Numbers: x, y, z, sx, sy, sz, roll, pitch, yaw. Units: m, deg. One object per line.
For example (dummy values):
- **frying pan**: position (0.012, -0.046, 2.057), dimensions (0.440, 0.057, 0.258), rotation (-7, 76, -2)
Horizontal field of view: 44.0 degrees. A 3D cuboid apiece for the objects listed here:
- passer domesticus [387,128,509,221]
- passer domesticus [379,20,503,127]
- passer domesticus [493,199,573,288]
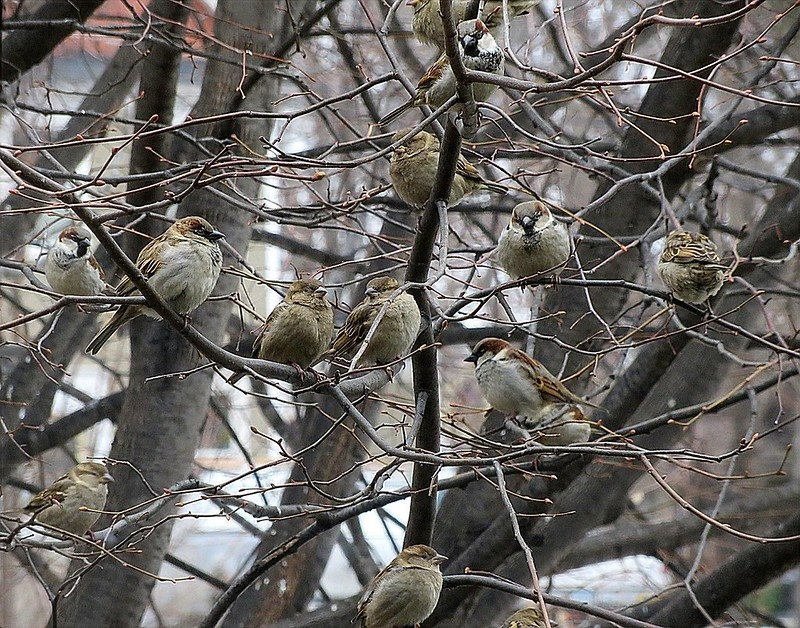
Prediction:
- **passer domesticus**: position (0.437, -1.236, 8.588), dimensions (1.143, 0.655, 0.750), rotation (-3, -92, -27)
- **passer domesticus**: position (0.295, -1.767, 7.291), dimensions (0.492, 1.140, 0.666), rotation (-6, -82, -40)
- **passer domesticus**: position (1.160, -0.593, 8.449), dimensions (0.661, 0.823, 0.658), rotation (-6, -86, 14)
